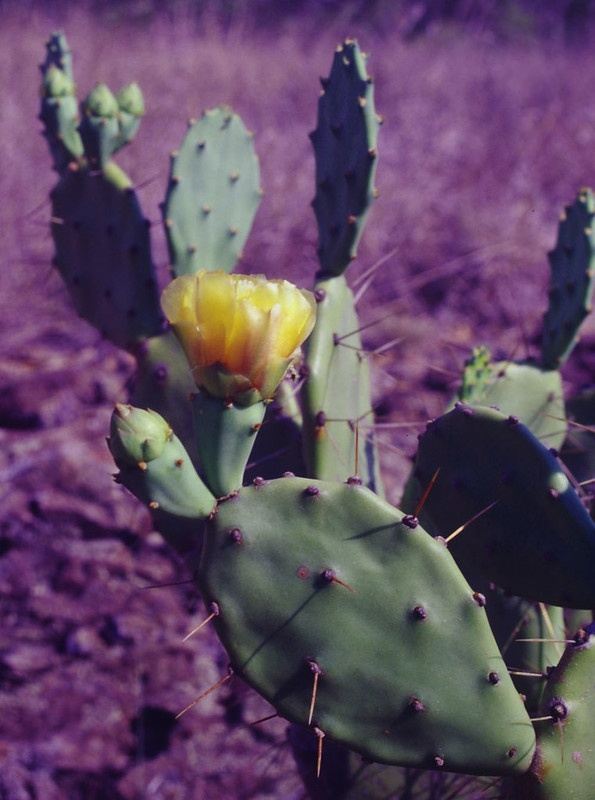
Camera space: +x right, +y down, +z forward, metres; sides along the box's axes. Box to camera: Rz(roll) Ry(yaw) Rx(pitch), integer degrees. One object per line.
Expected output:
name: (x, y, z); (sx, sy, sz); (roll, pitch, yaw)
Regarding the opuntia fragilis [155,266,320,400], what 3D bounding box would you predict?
opuntia fragilis: (-0.068, -0.082, 1.134); (0.150, 0.125, 0.144); (-9, 22, -19)
